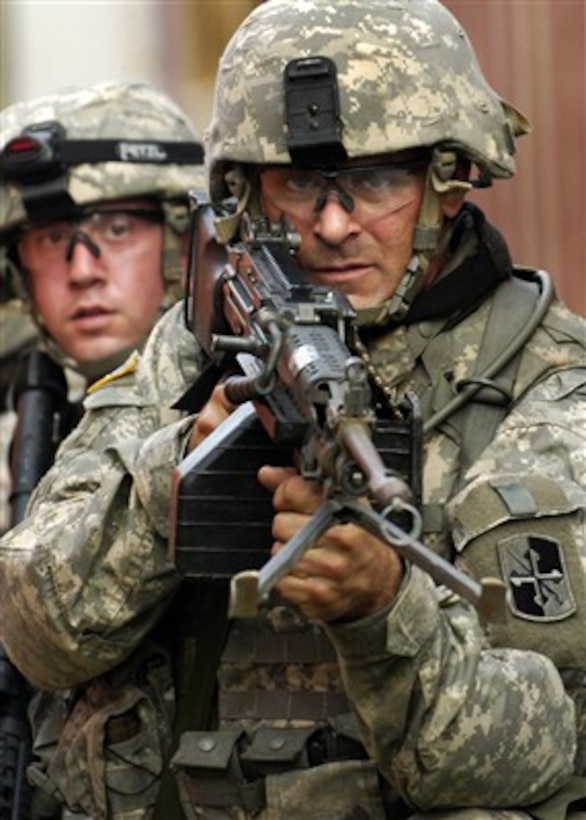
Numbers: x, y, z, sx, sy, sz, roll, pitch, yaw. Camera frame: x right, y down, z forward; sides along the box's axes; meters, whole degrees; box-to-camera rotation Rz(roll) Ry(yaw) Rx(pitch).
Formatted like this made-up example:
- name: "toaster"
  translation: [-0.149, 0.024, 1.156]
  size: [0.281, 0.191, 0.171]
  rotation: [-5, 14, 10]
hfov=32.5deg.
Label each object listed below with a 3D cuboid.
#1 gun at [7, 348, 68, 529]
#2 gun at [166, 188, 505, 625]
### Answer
- name: "gun"
  translation: [-0.996, 0.087, 4.136]
  size: [0.257, 0.797, 0.261]
  rotation: [7, -37, -3]
- name: "gun"
  translation: [-0.046, 0.018, 1.847]
  size: [0.507, 0.445, 1.109]
  rotation: [-1, 29, -14]
